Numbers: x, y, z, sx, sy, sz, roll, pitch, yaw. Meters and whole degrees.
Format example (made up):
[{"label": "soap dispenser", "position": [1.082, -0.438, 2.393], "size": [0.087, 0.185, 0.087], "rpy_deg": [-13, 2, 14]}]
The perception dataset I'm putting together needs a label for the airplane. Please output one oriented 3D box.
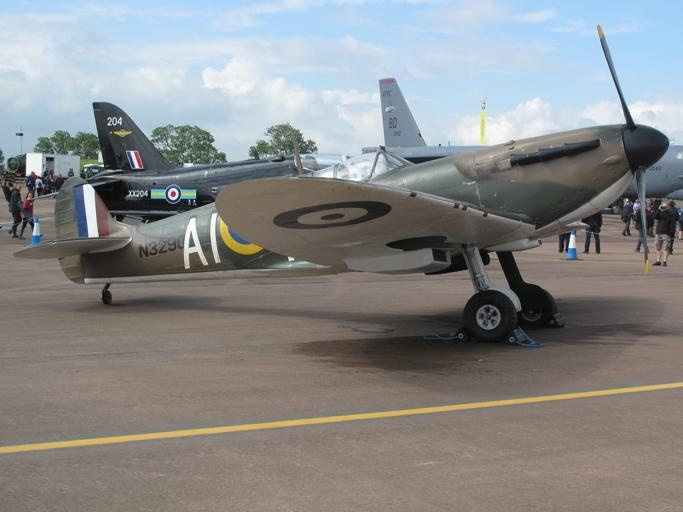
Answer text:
[{"label": "airplane", "position": [-0.314, -0.412, 7.233], "size": [6.960, 1.741, 6.147], "rpy_deg": [-2, 3, 9]}]
